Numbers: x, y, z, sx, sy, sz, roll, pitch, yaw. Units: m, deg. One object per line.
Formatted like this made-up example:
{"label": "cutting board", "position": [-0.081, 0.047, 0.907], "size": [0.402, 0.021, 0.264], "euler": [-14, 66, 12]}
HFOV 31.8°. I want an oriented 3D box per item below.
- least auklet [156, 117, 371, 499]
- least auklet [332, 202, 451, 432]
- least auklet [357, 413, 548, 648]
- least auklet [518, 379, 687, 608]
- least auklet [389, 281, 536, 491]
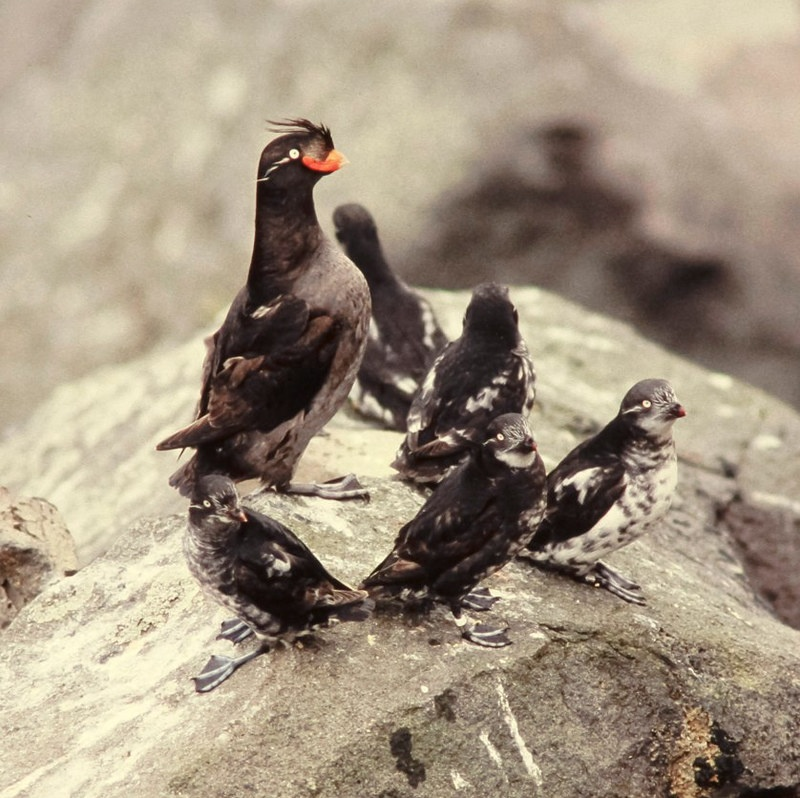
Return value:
{"label": "least auklet", "position": [-0.733, -0.557, 8.710], "size": [1.655, 2.264, 1.376], "euler": [-12, 22, -15]}
{"label": "least auklet", "position": [0.145, -0.688, 11.010], "size": [1.140, 1.571, 0.904], "euler": [-12, 22, -12]}
{"label": "least auklet", "position": [0.349, 0.760, 7.995], "size": [1.132, 1.297, 0.463], "euler": [-9, 15, -5]}
{"label": "least auklet", "position": [1.281, 0.536, 8.781], "size": [1.053, 1.358, 1.155], "euler": [-5, 18, -7]}
{"label": "least auklet", "position": [0.523, -0.109, 9.076], "size": [1.114, 1.202, 0.853], "euler": [-3, 15, -8]}
